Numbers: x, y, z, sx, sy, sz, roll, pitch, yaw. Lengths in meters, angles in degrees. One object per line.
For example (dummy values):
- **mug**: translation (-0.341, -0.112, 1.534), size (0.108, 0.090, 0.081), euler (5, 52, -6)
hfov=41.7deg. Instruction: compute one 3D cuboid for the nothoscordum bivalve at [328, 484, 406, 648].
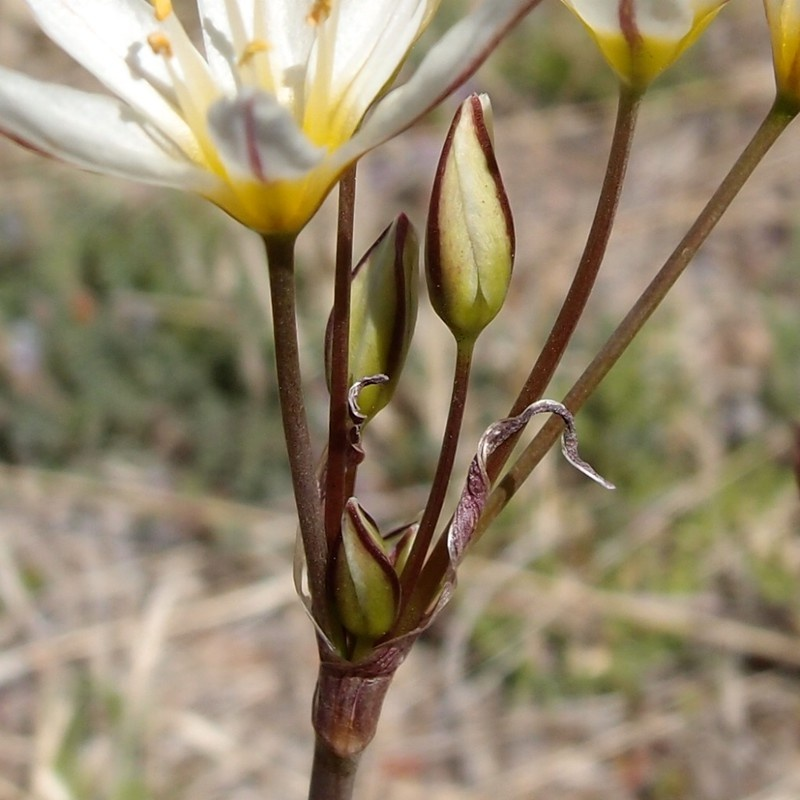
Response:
- **nothoscordum bivalve**: translation (-0.013, 0.094, 0.603), size (0.036, 0.089, 0.092), euler (2, 3, 11)
